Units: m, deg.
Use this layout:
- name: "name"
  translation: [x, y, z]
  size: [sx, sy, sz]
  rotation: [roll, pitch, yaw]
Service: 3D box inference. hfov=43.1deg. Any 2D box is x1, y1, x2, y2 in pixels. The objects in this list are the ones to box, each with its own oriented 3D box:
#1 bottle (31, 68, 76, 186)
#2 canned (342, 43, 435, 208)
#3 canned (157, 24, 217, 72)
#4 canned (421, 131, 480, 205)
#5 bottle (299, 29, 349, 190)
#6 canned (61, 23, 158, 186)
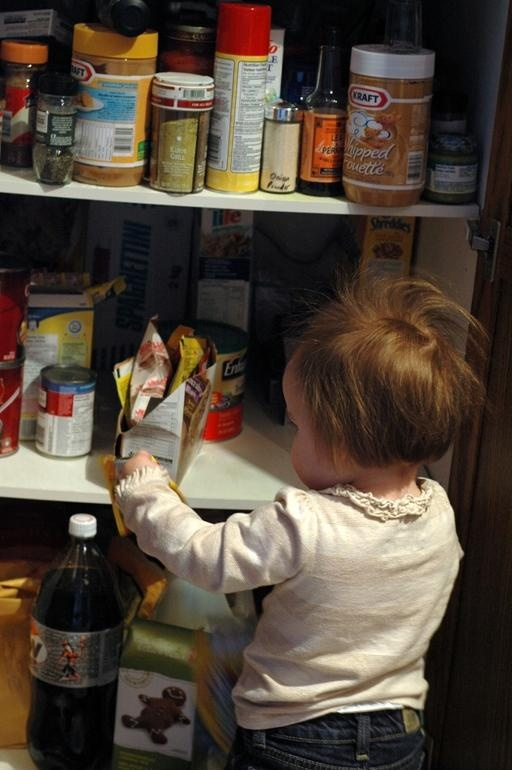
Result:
- name: "bottle"
  translation: [-0.253, -0.319, 0.817]
  size: [0.048, 0.132, 0.045]
  rotation: [4, 12, -1]
- name: "canned"
  translation: [0.173, -0.340, 0.862]
  size: [0.114, 0.199, 0.089]
  rotation: [6, 12, 11]
- name: "canned"
  translation: [-0.091, -0.461, 0.888]
  size: [0.064, 0.057, 0.065]
  rotation: [28, 34, 34]
- name: "canned"
  translation: [0.275, -0.305, 0.907]
  size: [0.092, 0.101, 0.093]
  rotation: [16, 27, 37]
- name: "bottle"
  translation: [0.099, -0.391, 0.936]
  size: [0.062, 0.233, 0.115]
  rotation: [5, 12, 3]
- name: "canned"
  translation: [-0.185, -0.354, 0.838]
  size: [0.101, 0.189, 0.062]
  rotation: [1, 12, -14]
